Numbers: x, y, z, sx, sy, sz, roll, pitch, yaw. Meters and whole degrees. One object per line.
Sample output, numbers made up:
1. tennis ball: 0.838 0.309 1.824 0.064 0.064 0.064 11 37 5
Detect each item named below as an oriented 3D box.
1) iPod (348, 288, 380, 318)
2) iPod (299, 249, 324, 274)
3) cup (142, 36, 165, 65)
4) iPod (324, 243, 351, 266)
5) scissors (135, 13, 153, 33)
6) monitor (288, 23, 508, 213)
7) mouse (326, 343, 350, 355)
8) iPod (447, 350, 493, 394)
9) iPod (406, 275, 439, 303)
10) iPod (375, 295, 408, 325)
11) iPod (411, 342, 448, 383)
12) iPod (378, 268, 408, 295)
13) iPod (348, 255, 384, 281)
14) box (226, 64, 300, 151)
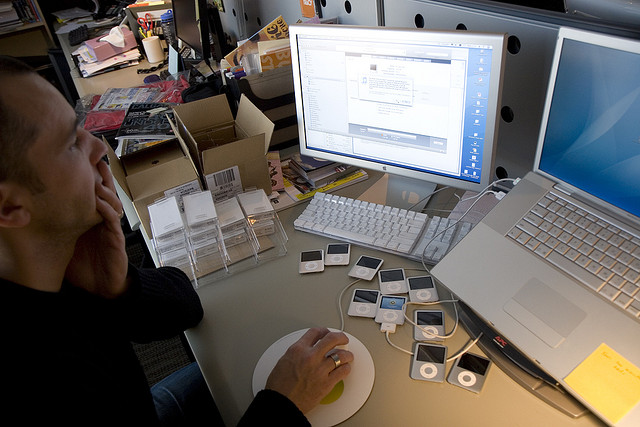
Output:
1. iPod: 0.123 0.250 1.193 0.080 0.019 0.088 6 44 9
2. iPod: -0.026 0.146 1.316 0.075 0.013 0.087 -1 44 1
3. cup: -1.087 -1.072 2.777 0.121 0.170 0.193 -13 45 -15
4. iPod: 0.055 0.124 1.324 0.075 0.017 0.085 4 44 6
5. scissors: -1.209 -1.341 2.965 0.095 0.038 0.163 -6 59 -31
6. monitor: 0.240 -0.302 1.407 0.697 0.605 0.220 15 42 29
7. mouse: 0.049 0.348 1.094 0.039 0.013 0.029 -22 15 -13
8. iPod: 0.370 0.386 1.049 0.078 0.011 0.107 11 37 29
9. iPod: 0.289 0.205 1.203 0.078 0.086 0.021 -10 20 20
10. iPod: 0.199 0.265 1.175 0.084 0.021 0.096 -2 39 15
11. iPod: 0.276 0.370 1.066 0.078 0.010 0.101 0 39 23
12. iPod: 0.210 0.193 1.226 0.078 0.012 0.085 -2 44 0
13. iPod: 0.138 0.160 1.275 0.077 0.010 0.099 9 34 28
14. box: -0.253 -0.486 1.838 0.391 0.304 0.327 -6 38 -15
